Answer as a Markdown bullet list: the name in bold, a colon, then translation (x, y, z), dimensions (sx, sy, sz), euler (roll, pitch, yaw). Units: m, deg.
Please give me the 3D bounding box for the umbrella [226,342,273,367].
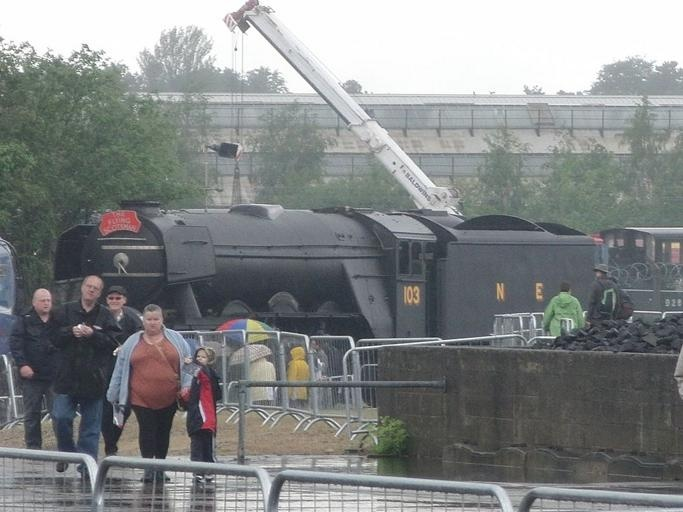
- **umbrella**: translation (-2.891, 3.346, 73.953), dimensions (0.898, 0.285, 0.929), euler (-5, -18, -41)
